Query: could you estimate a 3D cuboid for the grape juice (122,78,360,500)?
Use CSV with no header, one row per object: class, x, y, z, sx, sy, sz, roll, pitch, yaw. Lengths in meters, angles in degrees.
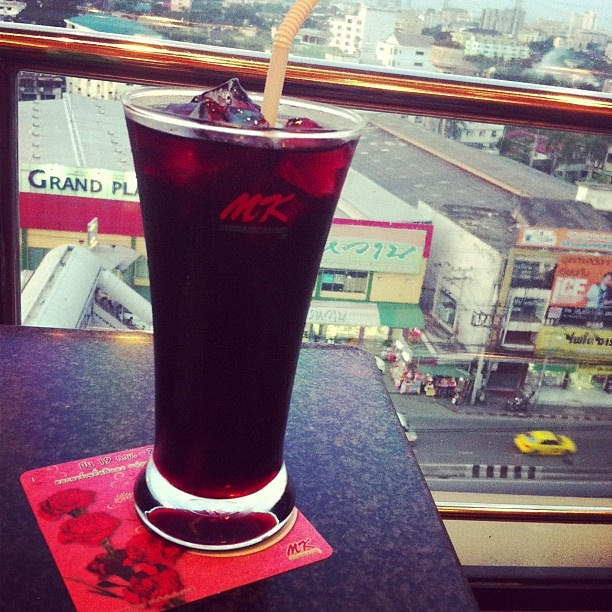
grape juice,-0.050,-0.013,0.439,0.142,0.270,0.152,-9,30,-31
